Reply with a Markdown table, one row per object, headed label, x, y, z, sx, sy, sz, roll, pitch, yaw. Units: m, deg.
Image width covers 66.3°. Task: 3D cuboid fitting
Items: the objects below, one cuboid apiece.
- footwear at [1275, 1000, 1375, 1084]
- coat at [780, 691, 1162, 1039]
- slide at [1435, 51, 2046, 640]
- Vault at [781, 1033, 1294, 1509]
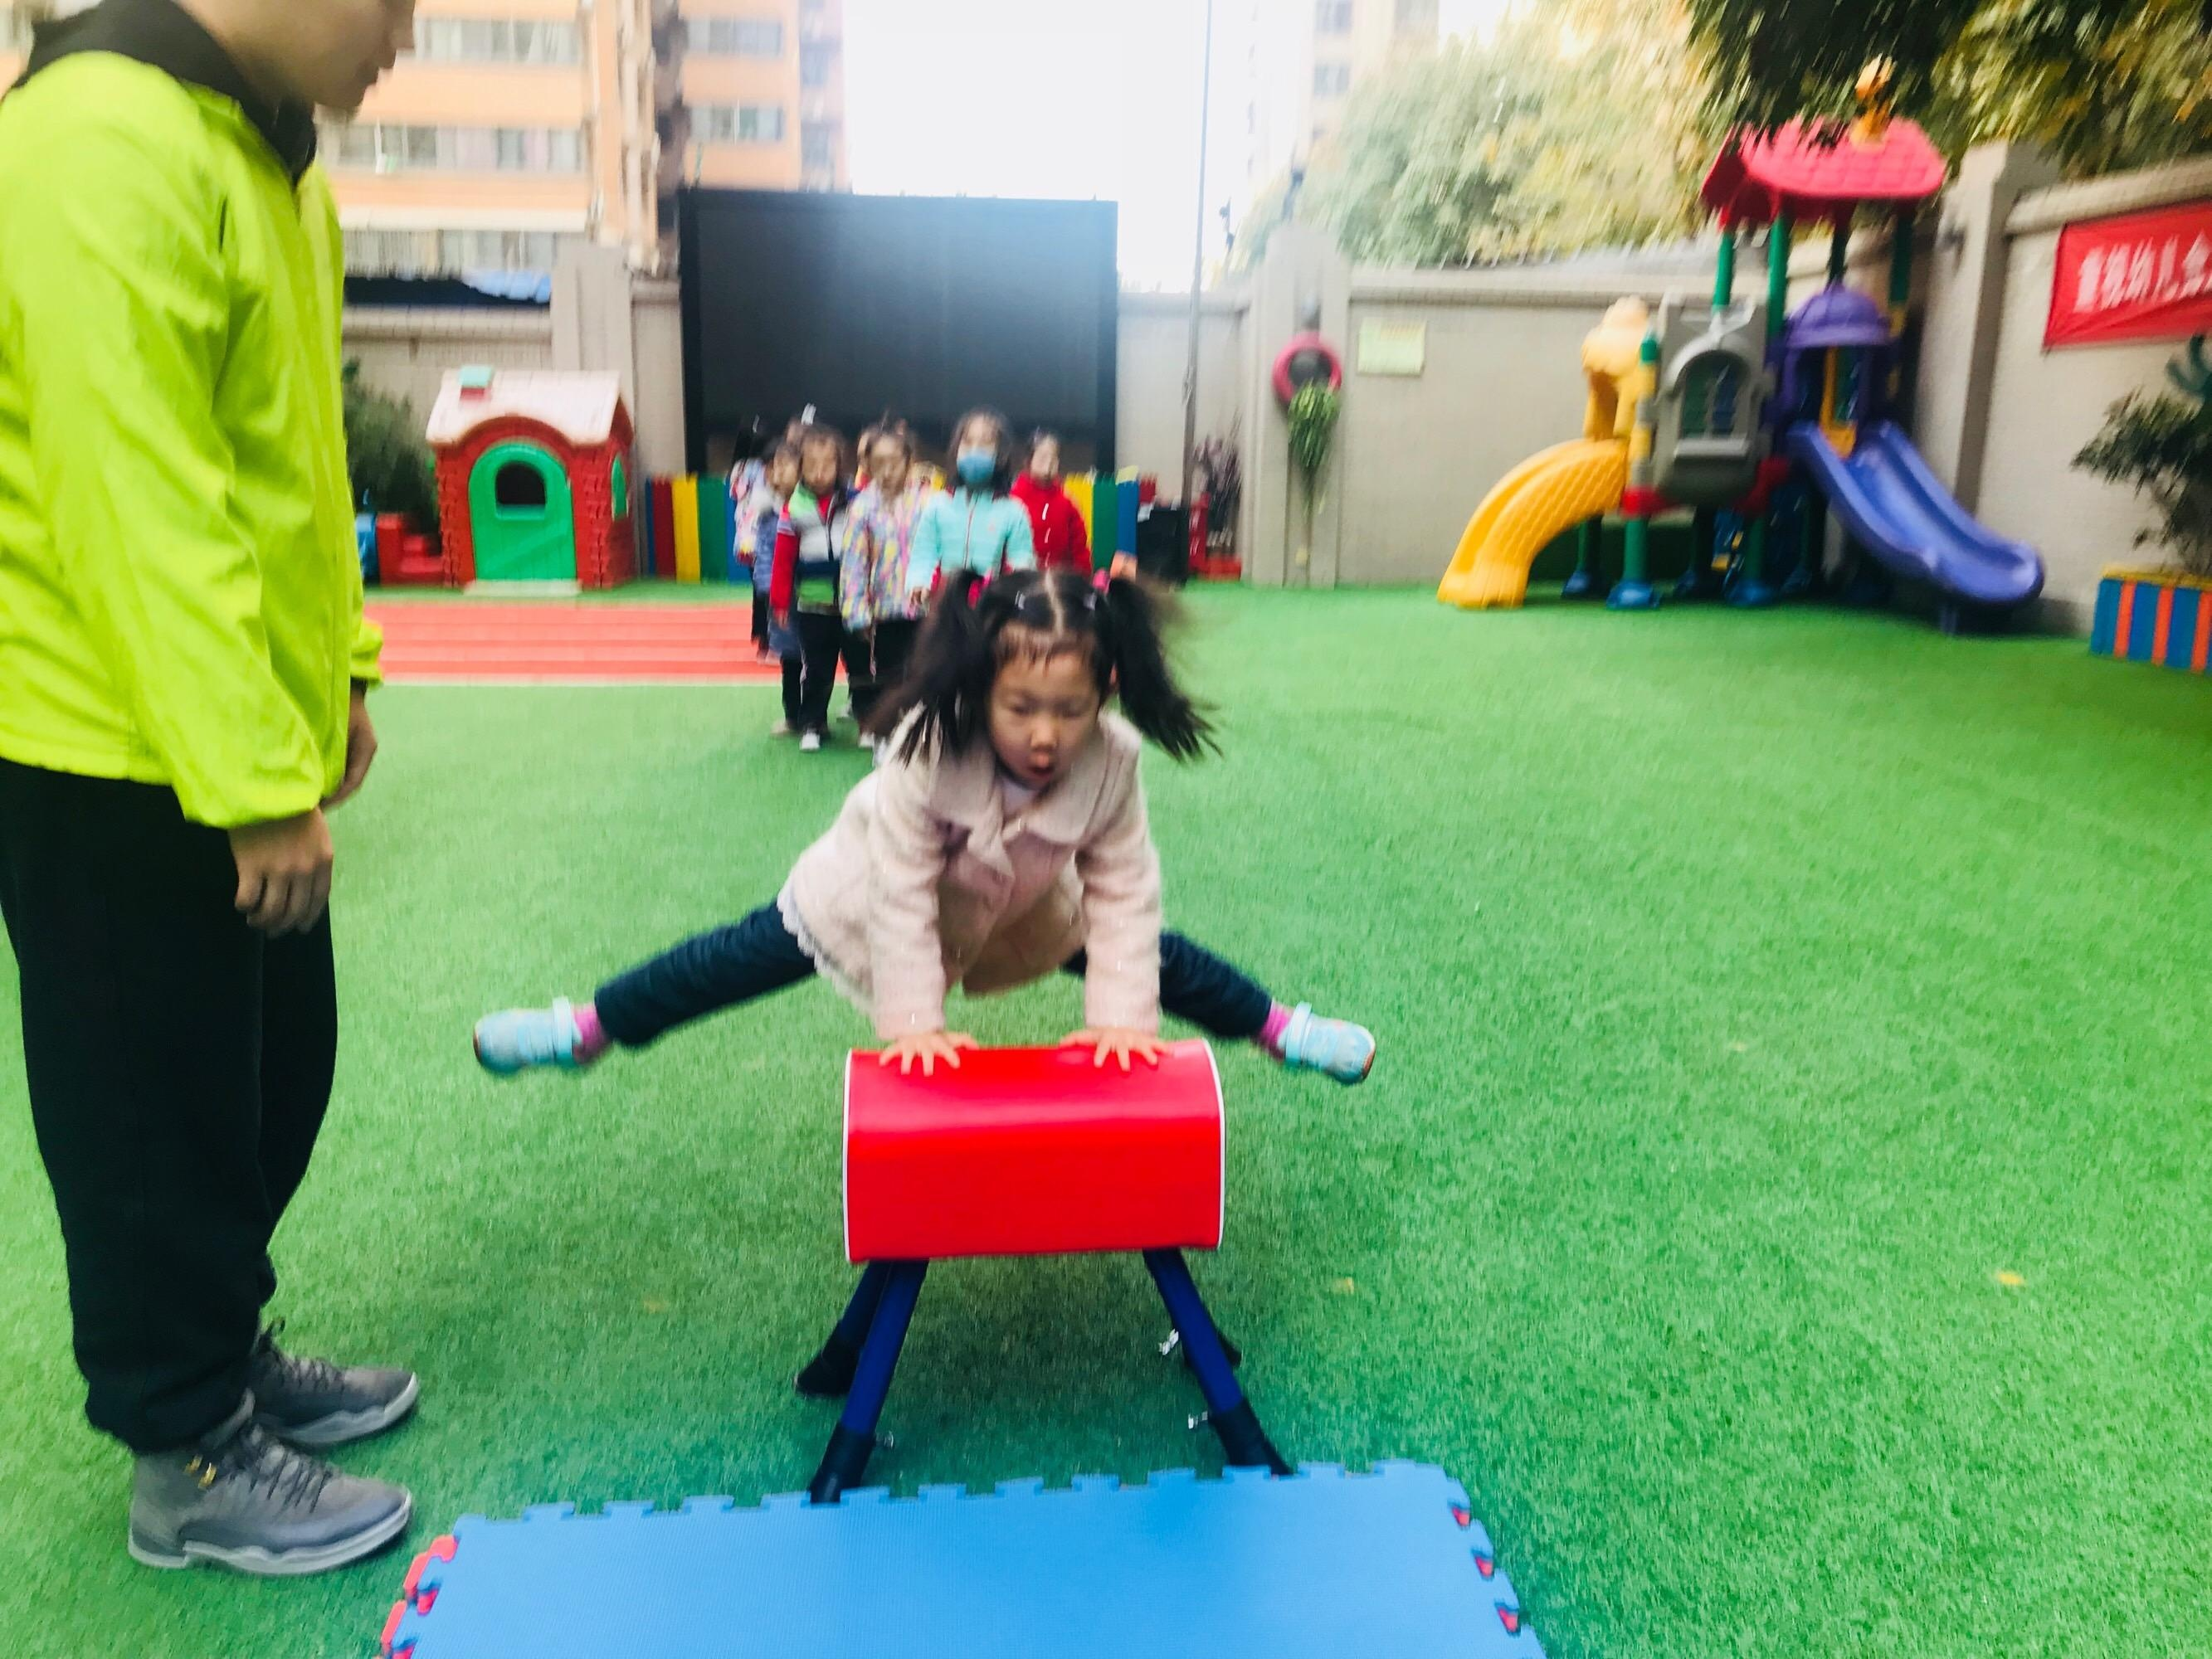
| label | x | y | z | sx | sy | sz | roll | pitch | yaw |
| --- | --- | --- | --- | --- | --- | --- | --- | --- | --- |
| footwear | 0.352 | 0.331 | 2.708 | 0.149 | 0.114 | 0.070 | 17 | -5 | 23 |
| coat | -0.161 | 0.048 | 2.480 | 0.377 | 0.401 | 0.572 | 0 | 2 | -15 |
| slide | 3.899 | -3.510 | 11.995 | 4.349 | 3.513 | 1.301 | -12 | 22 | -36 |
| Vault | -0.105 | 0.543 | 2.534 | 0.691 | 0.677 | 0.730 | -4 | 22 | -8 |
